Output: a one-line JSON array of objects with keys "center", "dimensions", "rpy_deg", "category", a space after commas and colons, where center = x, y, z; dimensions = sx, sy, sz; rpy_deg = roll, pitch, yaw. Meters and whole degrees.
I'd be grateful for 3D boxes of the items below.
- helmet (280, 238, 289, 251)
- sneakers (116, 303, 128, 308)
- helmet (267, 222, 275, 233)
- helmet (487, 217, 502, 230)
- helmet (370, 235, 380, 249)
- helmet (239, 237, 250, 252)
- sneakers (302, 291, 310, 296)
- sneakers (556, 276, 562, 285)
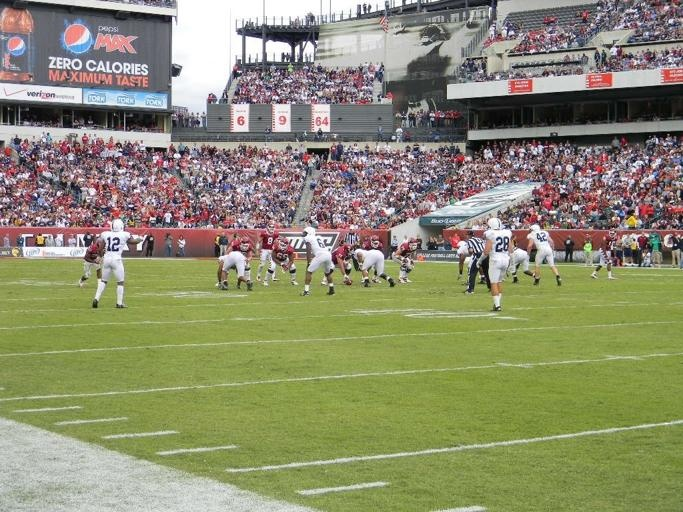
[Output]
[{"center": [-1.543, -0.288, 28.049], "dimensions": [0.225, 0.298, 0.291], "rpy_deg": [1, 0, -9], "category": "helmet"}, {"center": [-4.765, 1.084, 22.828], "dimensions": [0.242, 0.107, 0.074], "rpy_deg": [1, 1, -28], "category": "sneakers"}, {"center": [-1.890, -0.739, 28.399], "dimensions": [0.206, 0.228, 0.270], "rpy_deg": [1, 3, -16], "category": "helmet"}, {"center": [3.318, -0.679, 22.953], "dimensions": [0.299, 0.272, 0.226], "rpy_deg": [-22, 14, 17], "category": "helmet"}, {"center": [0.937, -0.358, 28.149], "dimensions": [0.249, 0.323, 0.315], "rpy_deg": [0, 1, -26], "category": "helmet"}, {"center": [-2.543, -0.283, 27.482], "dimensions": [0.271, 0.277, 0.310], "rpy_deg": [3, 5, -19], "category": "helmet"}, {"center": [-0.901, 0.940, 26.326], "dimensions": [0.106, 0.118, 0.271], "rpy_deg": [2, 3, -5], "category": "sneakers"}, {"center": [6.130, 0.719, 29.636], "dimensions": [0.139, 0.196, 0.549], "rpy_deg": [4, -10, 9], "category": "sneakers"}]
